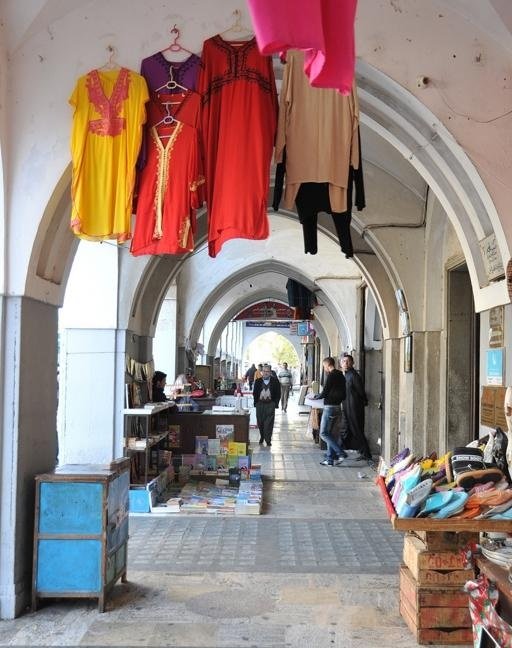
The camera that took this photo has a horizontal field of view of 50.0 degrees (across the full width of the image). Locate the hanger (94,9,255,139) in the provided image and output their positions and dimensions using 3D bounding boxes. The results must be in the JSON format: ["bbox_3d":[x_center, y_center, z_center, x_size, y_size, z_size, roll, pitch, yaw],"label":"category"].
[{"bbox_3d":[-0.478,-1.461,3.115,0.773,1.360,0.274,1,0,0],"label":"hanger"}]

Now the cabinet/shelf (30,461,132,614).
[{"bbox_3d":[-1.105,1.299,3.480,0.471,0.832,0.534,1,-5,-1],"label":"cabinet/shelf"}]

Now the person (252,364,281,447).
[{"bbox_3d":[0.235,1.645,10.922,0.451,1.552,0.445,-2,-10,15],"label":"person"}]

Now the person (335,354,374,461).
[{"bbox_3d":[1.696,1.488,9.515,0.474,1.833,0.618,5,0,7],"label":"person"}]
